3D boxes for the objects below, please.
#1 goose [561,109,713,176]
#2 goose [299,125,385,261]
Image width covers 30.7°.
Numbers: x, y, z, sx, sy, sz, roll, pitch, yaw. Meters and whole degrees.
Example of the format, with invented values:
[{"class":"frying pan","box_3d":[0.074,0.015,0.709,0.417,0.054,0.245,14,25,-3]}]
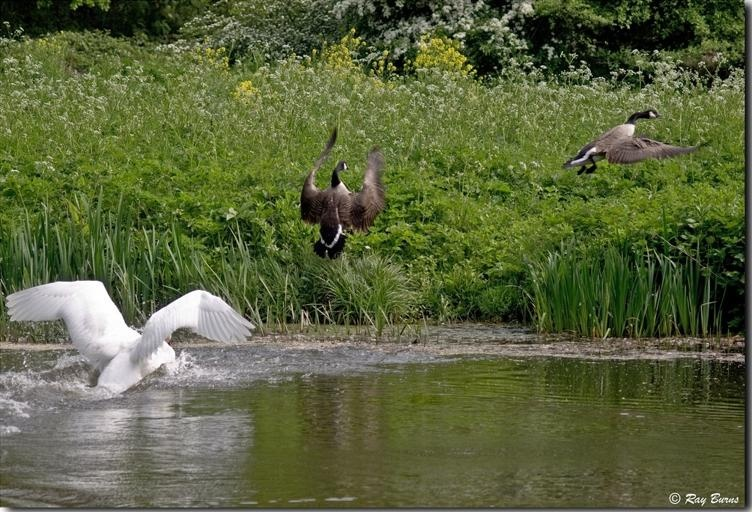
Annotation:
[{"class":"goose","box_3d":[4.290,-1.974,23.593,1.930,1.139,4.458,-1,4,7]},{"class":"goose","box_3d":[-0.603,-1.026,22.325,1.343,1.759,1.788,-4,-9,-13]}]
